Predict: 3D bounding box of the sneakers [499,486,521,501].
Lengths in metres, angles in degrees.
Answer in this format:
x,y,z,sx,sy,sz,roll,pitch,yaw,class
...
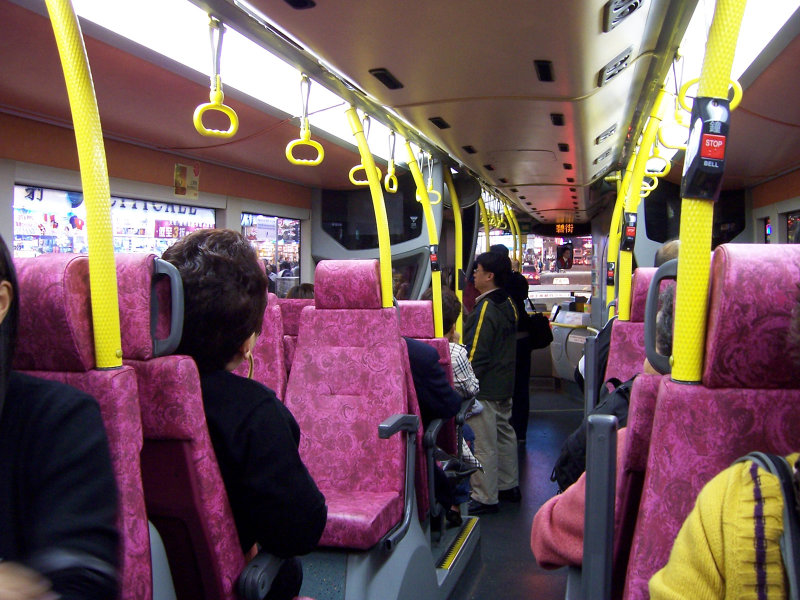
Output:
x,y,z,sx,sy,sz,roll,pitch,yaw,class
0.892,1.541,4.850,0.183,0.108,0.133,-1,5,4,sneakers

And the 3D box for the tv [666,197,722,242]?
x,y,z,sx,sy,sz,roll,pitch,yaw,class
4.386,-1.200,9.062,1.279,0.662,0.601,-4,6,-35,tv

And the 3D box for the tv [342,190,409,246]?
x,y,z,sx,sy,sz,roll,pitch,yaw,class
-0.512,-1.230,9.390,0.847,0.915,0.215,0,7,22,tv

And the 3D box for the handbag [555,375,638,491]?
x,y,z,sx,sy,sz,roll,pitch,yaw,class
0.693,0.520,2.250,0.145,0.498,0.365,16,-12,11,handbag

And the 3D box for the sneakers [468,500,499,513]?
x,y,z,sx,sy,sz,roll,pitch,yaw,class
0.639,1.563,4.620,0.229,0.117,0.090,4,-6,-5,sneakers
